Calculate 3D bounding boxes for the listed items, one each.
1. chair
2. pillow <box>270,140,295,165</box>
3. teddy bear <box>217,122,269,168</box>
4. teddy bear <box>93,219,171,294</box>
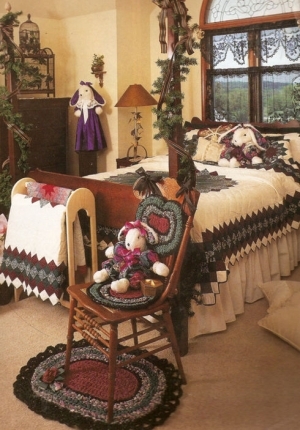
[{"bbox_3d":[-0.093,0.304,1.619,0.594,0.931,0.767,1,8,7],"label":"chair"},{"bbox_3d":[1.148,-0.536,3.204,0.125,0.043,0.299,-1,36,9],"label":"pillow"},{"bbox_3d":[0.826,-0.617,3.444,0.482,0.437,0.278,10,-4,29],"label":"teddy bear"},{"bbox_3d":[-0.079,0.170,1.575,0.315,0.240,0.308,0,18,5],"label":"teddy bear"}]
